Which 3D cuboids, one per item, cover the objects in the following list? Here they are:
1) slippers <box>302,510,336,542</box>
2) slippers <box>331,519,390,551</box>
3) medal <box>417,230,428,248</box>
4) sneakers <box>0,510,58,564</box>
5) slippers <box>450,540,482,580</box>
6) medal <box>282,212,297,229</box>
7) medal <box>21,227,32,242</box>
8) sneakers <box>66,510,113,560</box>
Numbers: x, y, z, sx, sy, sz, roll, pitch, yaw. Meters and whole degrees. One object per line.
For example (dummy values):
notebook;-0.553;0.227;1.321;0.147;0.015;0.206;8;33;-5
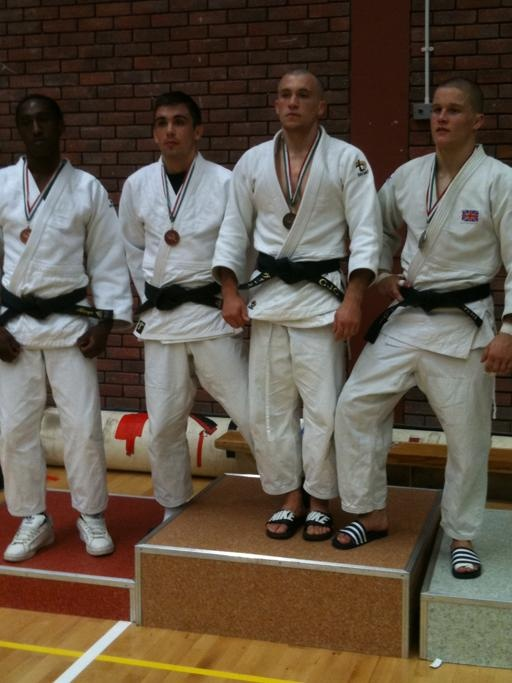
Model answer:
slippers;0.218;0.636;2.394;0.107;0.067;0.246;-1;0;8
slippers;0.359;0.642;2.319;0.172;0.044;0.071;-1;0;-39
medal;0.536;-0.328;2.220;0.012;0.059;0.044;2;5;-17
sneakers;-0.846;0.728;2.626;0.087;0.102;0.235;1;3;11
slippers;0.682;0.694;2.233;0.099;0.074;0.190;5;5;16
medal;0.112;-0.408;2.335;0.059;0.049;0.053;-3;0;21
medal;-0.839;-0.388;2.519;0.013;0.049;0.055;13;-27;-39
sneakers;-0.614;0.733;2.601;0.080;0.086;0.223;-7;5;-23
